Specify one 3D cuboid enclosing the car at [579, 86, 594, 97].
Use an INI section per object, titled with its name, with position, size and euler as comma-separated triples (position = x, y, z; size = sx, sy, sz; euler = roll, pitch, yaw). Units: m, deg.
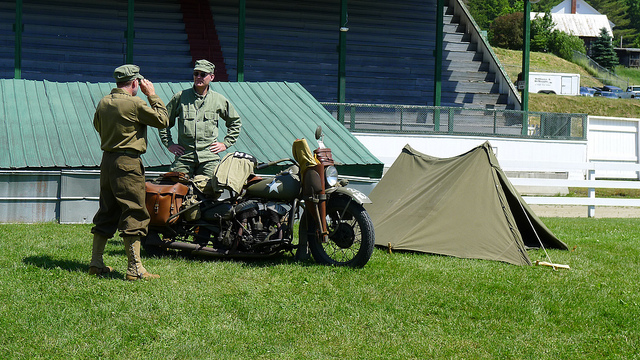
[car]
position = 21.480, -7.264, 64.293
size = 1.105, 0.821, 2.559
euler = 2, 3, 19
